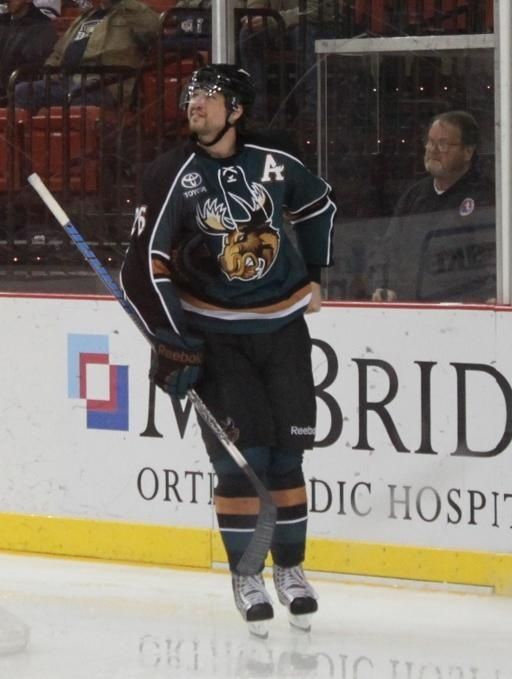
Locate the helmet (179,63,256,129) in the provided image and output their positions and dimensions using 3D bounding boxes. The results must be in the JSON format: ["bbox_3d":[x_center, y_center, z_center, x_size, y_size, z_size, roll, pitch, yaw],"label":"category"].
[{"bbox_3d":[-0.089,-0.689,3.497,0.177,0.153,0.125,6,8,-22],"label":"helmet"}]

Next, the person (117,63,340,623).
[{"bbox_3d":[-0.063,-0.053,3.510,0.585,1.393,0.287,-2,14,-2],"label":"person"}]

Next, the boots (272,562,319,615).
[{"bbox_3d":[0.115,0.697,3.626,0.070,0.077,0.202,-8,32,-7],"label":"boots"}]

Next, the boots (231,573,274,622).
[{"bbox_3d":[-0.014,0.716,3.582,0.070,0.074,0.199,-9,9,-10],"label":"boots"}]

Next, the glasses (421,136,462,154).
[{"bbox_3d":[0.592,-0.630,4.069,0.117,0.046,0.017,0,14,5],"label":"glasses"}]
